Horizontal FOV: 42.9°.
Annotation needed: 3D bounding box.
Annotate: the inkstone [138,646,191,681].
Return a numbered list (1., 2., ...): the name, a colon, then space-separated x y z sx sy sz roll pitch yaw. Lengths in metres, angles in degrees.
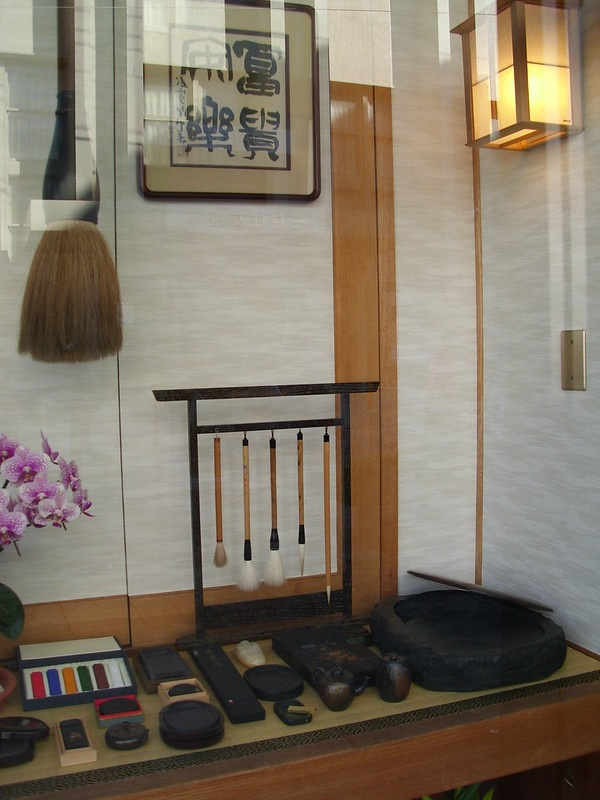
1. inkstone: -0.209 0.405 1.179 0.072 0.029 0.074 -5 6 -21

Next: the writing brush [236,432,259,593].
1. writing brush: -0.088 0.183 1.218 0.034 0.248 0.006 -7 7 -24

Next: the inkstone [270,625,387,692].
1. inkstone: 0.052 0.417 1.239 0.169 0.083 0.099 -6 6 -23

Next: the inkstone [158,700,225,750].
1. inkstone: -0.156 0.463 1.098 0.090 0.045 0.070 -5 6 -16

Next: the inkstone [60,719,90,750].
1. inkstone: -0.311 0.461 1.057 0.022 0.013 0.039 2 9 -27

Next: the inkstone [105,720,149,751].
1. inkstone: -0.242 0.469 1.071 0.061 0.027 0.040 -5 6 -19

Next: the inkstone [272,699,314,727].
1. inkstone: -0.010 0.471 1.154 0.056 0.027 0.040 -6 6 -24

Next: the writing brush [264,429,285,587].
1. writing brush: -0.047 0.180 1.230 0.037 0.247 0.005 -6 7 -21

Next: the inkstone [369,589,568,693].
1. inkstone: 0.296 0.410 1.321 0.334 0.141 0.149 -5 6 -22
